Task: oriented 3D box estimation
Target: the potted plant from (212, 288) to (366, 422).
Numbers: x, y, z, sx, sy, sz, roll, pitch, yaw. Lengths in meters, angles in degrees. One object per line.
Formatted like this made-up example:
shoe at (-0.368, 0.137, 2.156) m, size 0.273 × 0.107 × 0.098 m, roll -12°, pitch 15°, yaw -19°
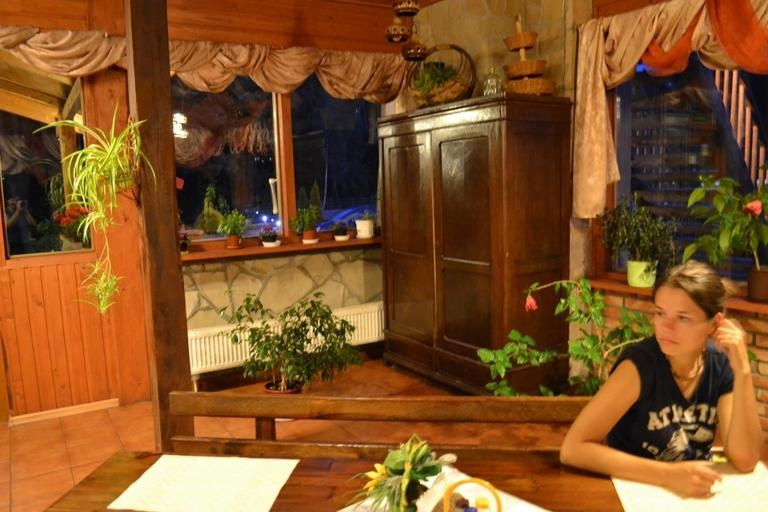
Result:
potted plant at (-0.857, 0.680, 6.160) m, size 1.333 × 0.982 × 0.969 m, roll 5°, pitch 20°, yaw 10°

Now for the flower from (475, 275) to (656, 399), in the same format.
flower at (1.561, 0.651, 4.979) m, size 1.190 × 1.253 × 0.451 m, roll -14°, pitch -10°, yaw 31°

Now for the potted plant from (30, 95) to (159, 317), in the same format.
potted plant at (-2.239, -0.358, 4.992) m, size 0.758 × 1.267 × 2.439 m, roll -8°, pitch 5°, yaw -28°

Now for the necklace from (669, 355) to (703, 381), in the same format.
necklace at (1.498, 0.554, 3.139) m, size 0.114 × 0.122 × 0.157 m, roll -3°, pitch -8°, yaw 17°
